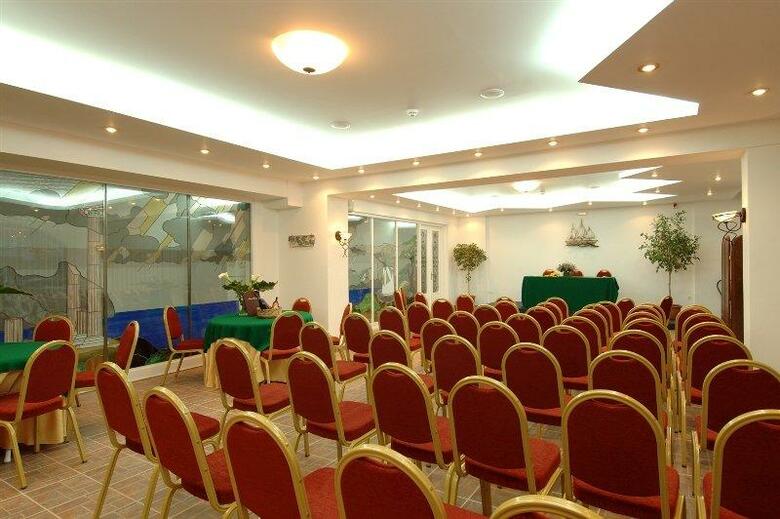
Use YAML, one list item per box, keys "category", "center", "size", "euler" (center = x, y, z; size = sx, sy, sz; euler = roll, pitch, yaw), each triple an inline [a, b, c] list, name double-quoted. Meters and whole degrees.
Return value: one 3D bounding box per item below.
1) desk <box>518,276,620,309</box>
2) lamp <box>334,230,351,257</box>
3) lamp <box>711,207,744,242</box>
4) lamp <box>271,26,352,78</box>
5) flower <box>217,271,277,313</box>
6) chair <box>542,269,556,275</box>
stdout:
- category: "desk"
  center: [4.318, 0.855, 12.254]
  size: [2.247, 0.864, 0.634]
  euler: [-2, -37, 18]
- category: "lamp"
  center: [-0.974, -0.315, 10.188]
  size: [0.187, 0.537, 0.410]
  euler: [1, 1, 25]
- category: "lamp"
  center: [5.589, -0.659, 8.299]
  size: [0.507, 0.519, 0.323]
  euler: [11, -4, 17]
- category: "lamp"
  center: [-0.917, -2.246, 5.623]
  size: [0.898, 0.282, 0.886]
  euler: [-1, 7, -18]
- category: "flower"
  center: [-2.260, 0.496, 7.909]
  size: [0.900, 0.526, 0.659]
  euler: [2, -4, -18]
- category: "chair"
  center: [4.171, 0.350, 13.192]
  size: [0.259, 0.144, 0.263]
  euler: [1, 4, 5]
